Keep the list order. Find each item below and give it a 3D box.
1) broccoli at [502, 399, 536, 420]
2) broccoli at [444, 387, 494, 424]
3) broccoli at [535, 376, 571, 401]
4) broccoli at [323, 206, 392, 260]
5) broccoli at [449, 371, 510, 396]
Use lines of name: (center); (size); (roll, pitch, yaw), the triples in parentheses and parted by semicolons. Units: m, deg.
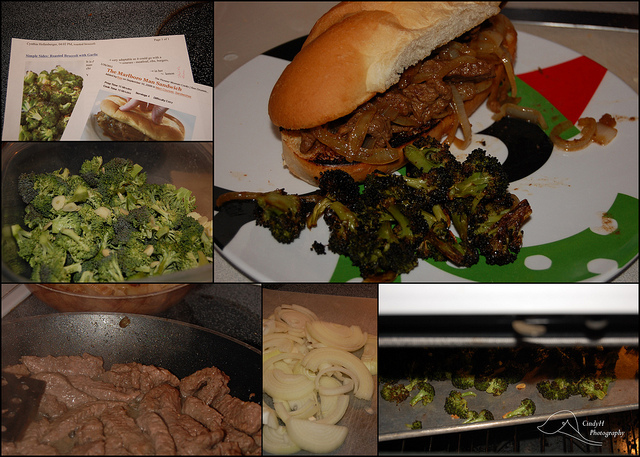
broccoli: (1.400, 1.286, 3.583); (0.214, 0.056, 0.122); (-19, 53, -11)
broccoli: (1.036, 1.230, 3.596); (0.270, 0.274, 0.116); (-34, -5, -12)
broccoli: (1.635, 1.130, 3.589); (0.186, 0.189, 0.063); (-36, -2, 4)
broccoli: (0.262, 0.030, 3.474); (0.463, 0.308, 0.192); (5, 15, 5)
broccoli: (1.133, 1.060, 3.622); (0.299, 0.194, 0.111); (2, 53, 6)
